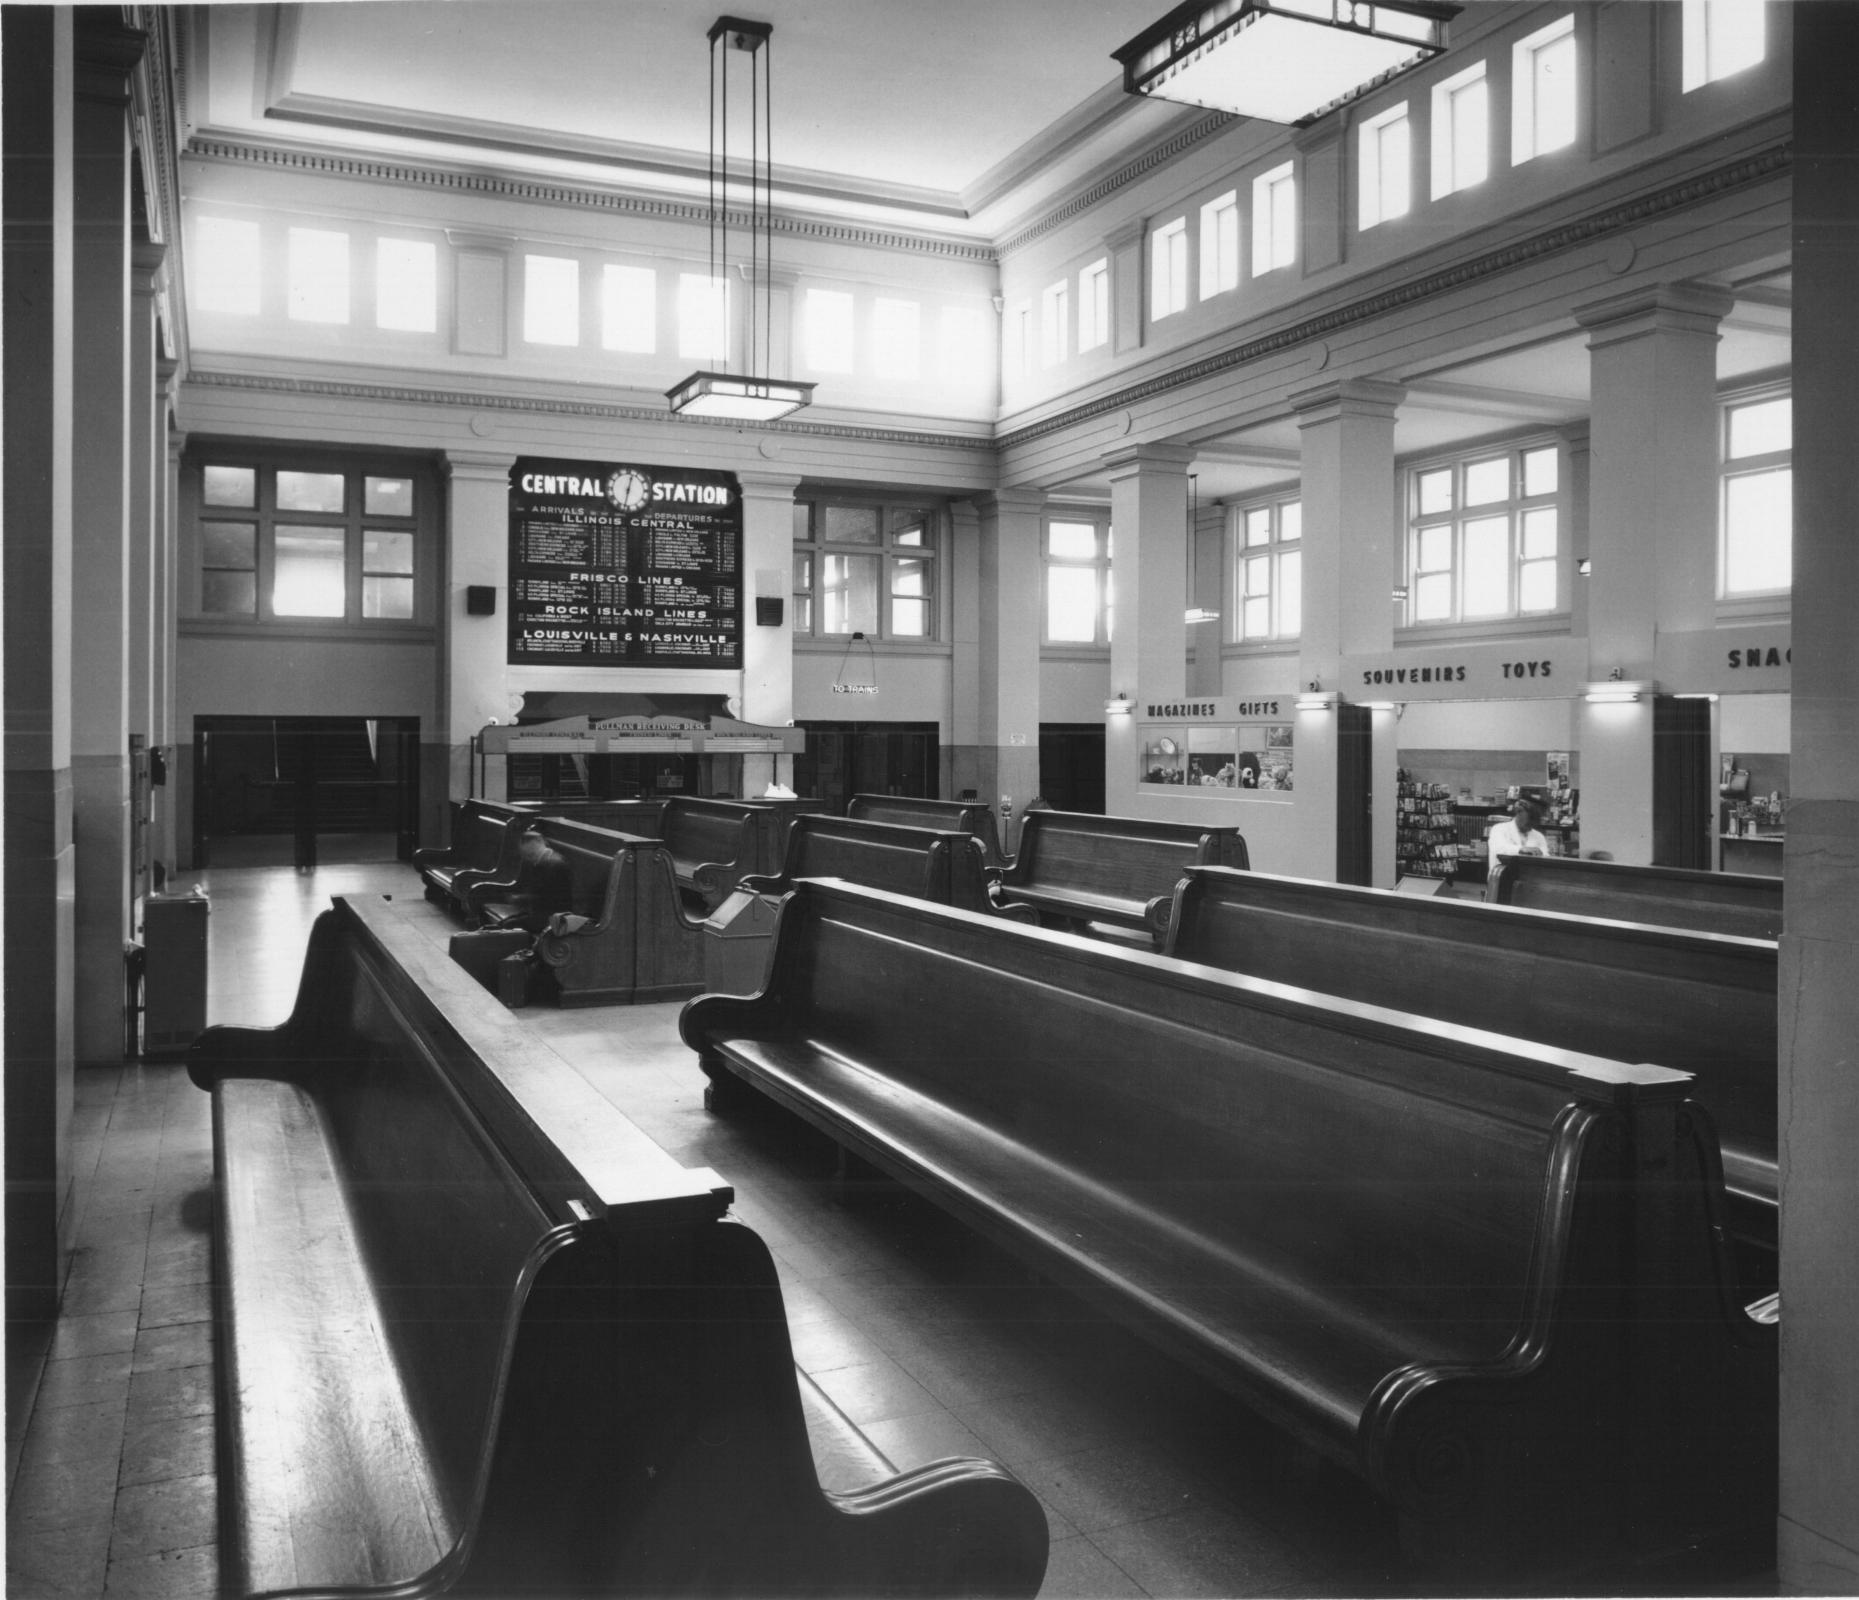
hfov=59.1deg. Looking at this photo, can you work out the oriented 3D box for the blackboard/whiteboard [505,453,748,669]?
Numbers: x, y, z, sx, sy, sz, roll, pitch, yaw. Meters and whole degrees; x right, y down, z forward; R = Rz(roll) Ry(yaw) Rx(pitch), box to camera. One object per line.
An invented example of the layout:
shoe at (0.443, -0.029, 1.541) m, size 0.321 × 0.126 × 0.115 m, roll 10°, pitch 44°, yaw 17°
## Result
blackboard/whiteboard at (-3.191, -2.414, 16.597) m, size 1.864 × 1.876 × 0.221 m, roll 1°, pitch -4°, yaw -24°
